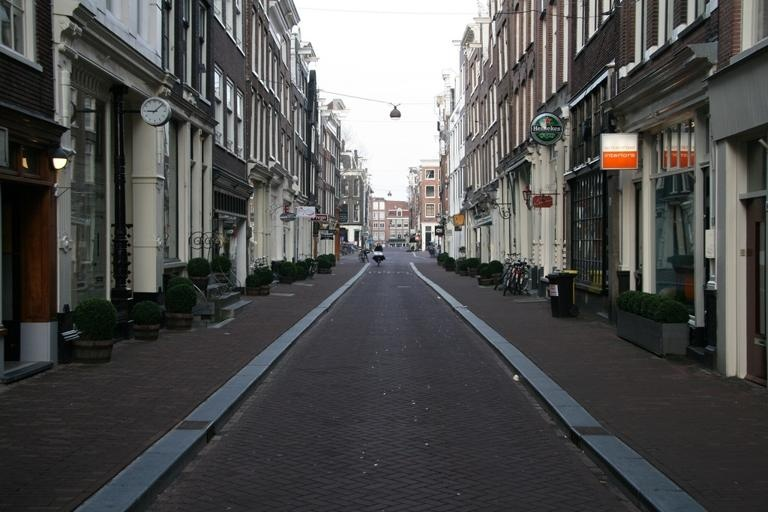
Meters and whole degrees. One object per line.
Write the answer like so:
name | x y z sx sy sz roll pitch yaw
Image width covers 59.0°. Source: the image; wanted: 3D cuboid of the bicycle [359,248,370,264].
bicycle | -2.117 0.019 70.302 0.931 1.249 1.981 0 -2 4

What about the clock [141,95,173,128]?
clock | -5.247 -3.333 15.604 0.700 0.666 0.467 3 6 36

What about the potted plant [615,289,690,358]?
potted plant | 5.289 1.304 13.342 0.530 1.100 1.824 -1 5 -7

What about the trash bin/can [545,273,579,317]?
trash bin/can | 4.856 1.077 18.549 0.799 1.224 0.559 0 4 5
